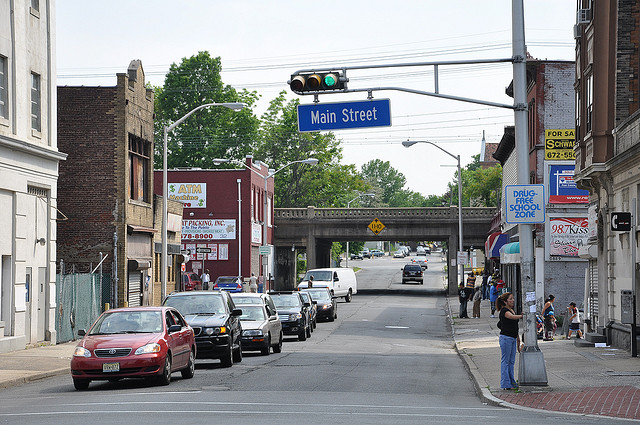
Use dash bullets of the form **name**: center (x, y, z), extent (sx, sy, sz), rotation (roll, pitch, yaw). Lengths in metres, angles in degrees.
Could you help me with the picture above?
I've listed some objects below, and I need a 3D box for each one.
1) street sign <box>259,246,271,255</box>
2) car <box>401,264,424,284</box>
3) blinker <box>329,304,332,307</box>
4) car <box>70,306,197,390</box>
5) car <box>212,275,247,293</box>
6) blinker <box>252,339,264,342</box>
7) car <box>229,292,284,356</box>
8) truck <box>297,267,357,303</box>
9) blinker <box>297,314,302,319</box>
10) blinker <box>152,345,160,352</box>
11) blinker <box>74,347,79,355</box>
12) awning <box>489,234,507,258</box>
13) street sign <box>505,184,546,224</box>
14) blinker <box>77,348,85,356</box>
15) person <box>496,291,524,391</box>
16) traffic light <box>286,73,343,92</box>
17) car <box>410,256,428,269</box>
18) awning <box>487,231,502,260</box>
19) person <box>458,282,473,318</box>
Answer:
- **street sign**: center (-3.540, 2.376, 59.866), extent (0.430, 0.541, 1.153), rotation (1, -9, -26)
- **car**: center (9.140, 5.996, 92.379), extent (2.012, 1.860, 0.990), rotation (-2, -8, -6)
- **blinker**: center (0.552, 4.954, 49.498), extent (0.060, 0.139, 0.313), rotation (-5, -8, 17)
- **car**: center (-5.565, 3.971, 27.508), extent (3.515, 2.408, 1.846), rotation (0, -8, -17)
- **car**: center (-5.525, 4.297, 55.897), extent (1.166, 0.679, 2.149), rotation (1, 2, 6)
- **blinker**: center (-2.287, 4.696, 34.004), extent (0.409, 0.105, 0.048), rotation (0, -8, -20)
- **car**: center (-2.378, 4.184, 35.292), extent (1.552, 1.296, 2.675), rotation (-1, -8, 4)
- **truck**: center (0.606, 4.883, 64.383), extent (2.165, 1.554, 3.787), rotation (-3, -9, 24)
- **blinker**: center (-0.922, 4.502, 40.395), extent (0.163, 0.183, 0.061), rotation (-3, -12, -6)
- **blinker**: center (-4.773, 3.937, 26.847), extent (0.219, 0.216, 0.052), rotation (2, -2, 0)
- **blinker**: center (-7.135, 4.049, 26.988), extent (0.156, 0.151, 0.202), rotation (1, -11, -2)
- **awning**: center (12.202, 2.164, 62.555), extent (1.188, 2.101, 2.200), rotation (1, -4, -3)
- **street sign**: center (6.030, -0.271, 27.325), extent (1.169, 1.152, 0.050), rotation (1, -8, 2)
- **blinker**: center (-6.917, 4.025, 26.772), extent (0.243, 0.220, 0.108), rotation (-6, -8, 25)
- **person**: center (5.499, 3.730, 27.028), extent (0.697, 2.861, 1.218), rotation (-4, -8, 10)
- **traffic light**: center (-0.145, -4.099, 28.556), extent (1.657, 0.561, 0.403), rotation (-2, -8, -2)
- **car**: center (13.713, 6.648, 128.233), extent (2.439, 1.784, 4.899), rotation (1, 4, 7)
- **awning**: center (11.990, 2.250, 63.782), extent (0.784, 1.514, 2.171), rotation (1, -2, 3)
- **person**: center (7.991, 4.930, 51.213), extent (0.644, 1.710, 1.539), rotation (-4, -8, 9)
